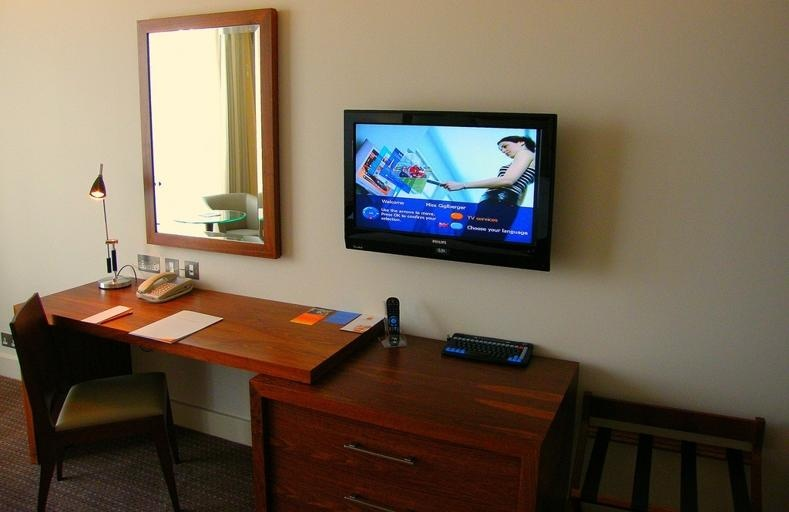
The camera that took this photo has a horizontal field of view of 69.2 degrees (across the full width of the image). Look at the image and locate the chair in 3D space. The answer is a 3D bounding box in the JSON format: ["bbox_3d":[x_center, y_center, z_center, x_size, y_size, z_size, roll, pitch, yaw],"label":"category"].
[{"bbox_3d":[-1.759,0.891,3.387,0.921,1.353,0.770,-6,23,-15],"label":"chair"}]

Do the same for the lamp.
[{"bbox_3d":[-1.905,-0.213,3.892,0.241,0.820,0.433,-4,12,-27],"label":"lamp"}]

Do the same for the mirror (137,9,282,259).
[{"bbox_3d":[-1.156,-0.766,3.611,1.031,1.472,0.108,6,12,20],"label":"mirror"}]

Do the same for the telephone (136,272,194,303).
[{"bbox_3d":[-1.450,0.200,3.625,0.197,0.101,0.265,8,18,25],"label":"telephone"}]
